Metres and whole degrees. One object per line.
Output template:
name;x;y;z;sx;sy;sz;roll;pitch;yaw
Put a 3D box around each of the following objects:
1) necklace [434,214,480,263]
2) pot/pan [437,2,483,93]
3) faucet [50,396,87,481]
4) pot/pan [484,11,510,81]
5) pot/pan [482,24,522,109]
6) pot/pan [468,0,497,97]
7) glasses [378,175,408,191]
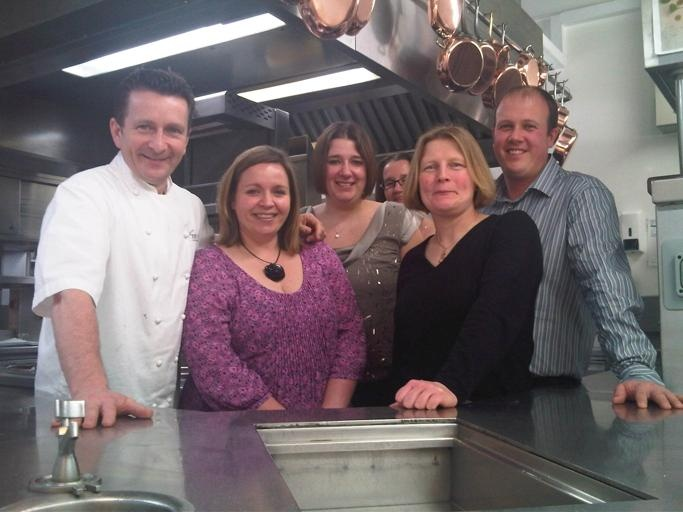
necklace;0.305;-0.044;1.442;0.104;0.102;0.060;-5;26;-31
pot/pan;0.431;-0.752;2.025;0.157;0.274;0.050;-4;0;-37
faucet;-0.379;0.250;0.762;0.041;0.107;0.073;-2;-2;-31
pot/pan;0.634;-0.821;2.224;0.044;0.325;0.201;0;5;29
pot/pan;0.660;-0.737;2.274;0.064;0.404;0.242;3;3;29
pot/pan;0.559;-0.783;2.102;0.045;0.315;0.187;2;0;33
glasses;0.220;-0.314;2.530;0.131;0.042;0.137;-6;-15;34
